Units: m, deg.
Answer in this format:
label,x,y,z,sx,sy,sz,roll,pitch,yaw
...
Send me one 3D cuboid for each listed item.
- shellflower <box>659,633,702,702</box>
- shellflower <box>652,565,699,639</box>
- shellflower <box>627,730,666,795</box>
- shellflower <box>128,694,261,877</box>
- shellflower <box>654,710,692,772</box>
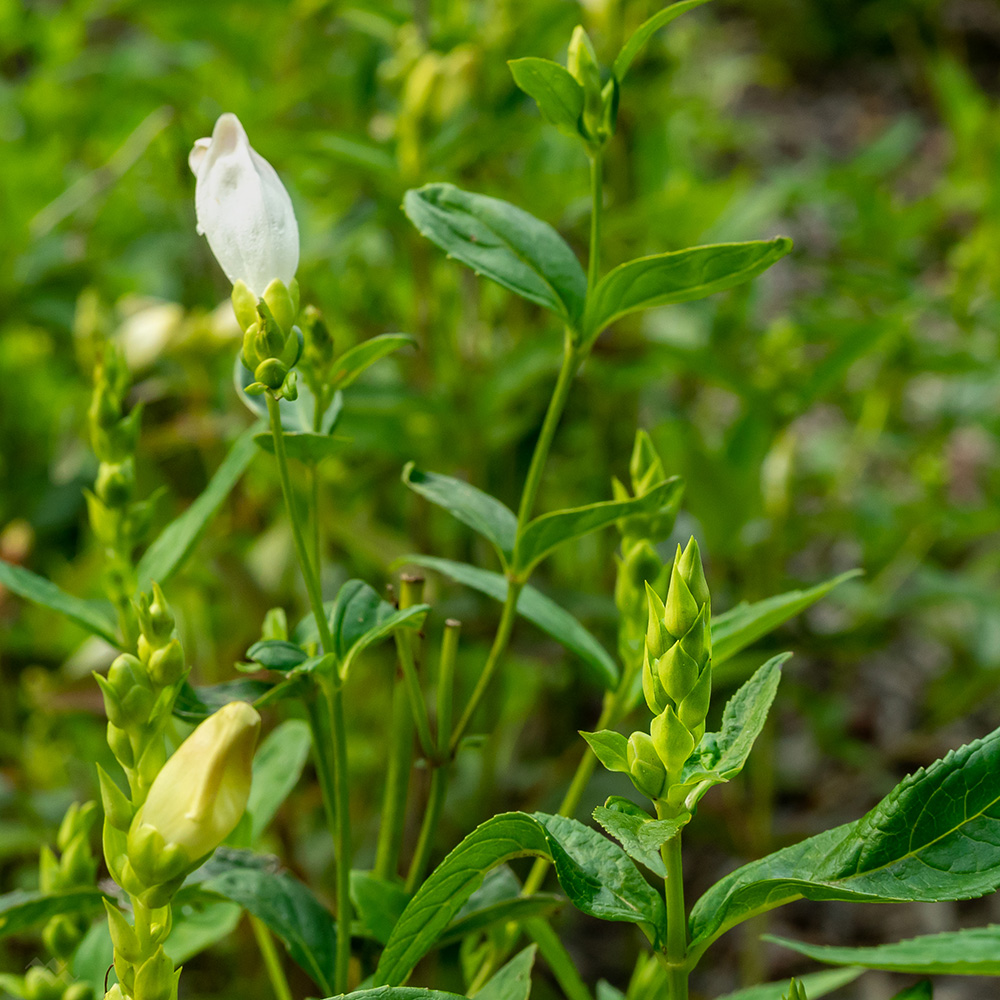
label,x,y,z,sx,sy,sz,roll,pitch,yaw
shellflower,0.063,0.055,0.436,0.011,0.022,0.008,7,9,-6
shellflower,0.062,0.036,0.439,0.013,0.022,0.017,-19,51,-5
shellflower,0.051,0.091,0.445,0.015,0.022,0.010,6,30,45
shellflower,-0.100,0.095,0.430,0.035,0.062,0.026,29,15,-6
shellflower,0.060,0.082,0.440,0.010,0.023,0.009,-10,8,3
